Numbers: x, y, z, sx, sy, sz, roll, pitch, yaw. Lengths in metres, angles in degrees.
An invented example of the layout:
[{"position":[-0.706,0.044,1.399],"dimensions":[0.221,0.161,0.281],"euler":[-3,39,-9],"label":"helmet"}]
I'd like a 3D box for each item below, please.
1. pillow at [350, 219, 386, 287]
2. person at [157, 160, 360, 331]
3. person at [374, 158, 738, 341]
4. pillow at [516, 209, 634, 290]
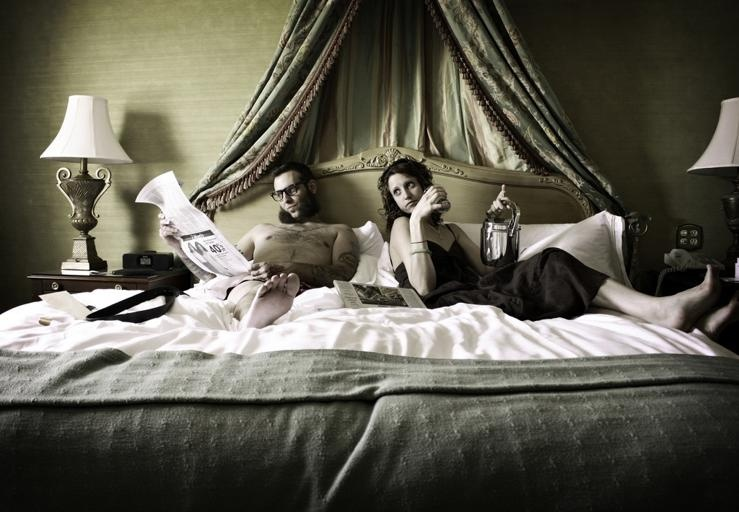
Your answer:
[{"position":[-0.005,-0.002,2.683],"dimensions":[0.226,0.264,0.080],"euler":[-1,-13,1],"label":"pillow"},{"position":[-0.492,-0.047,2.422],"dimensions":[0.823,0.733,1.229],"euler":[1,7,4],"label":"person"},{"position":[0.651,-0.016,2.446],"dimensions":[1.546,0.859,0.678],"euler":[-3,-9,24],"label":"person"},{"position":[0.993,-0.053,2.515],"dimensions":[0.387,0.132,0.433],"euler":[-32,31,-5],"label":"pillow"}]
